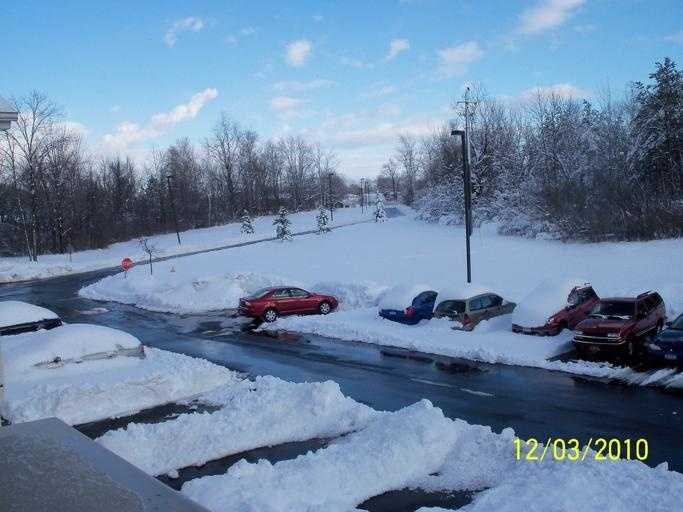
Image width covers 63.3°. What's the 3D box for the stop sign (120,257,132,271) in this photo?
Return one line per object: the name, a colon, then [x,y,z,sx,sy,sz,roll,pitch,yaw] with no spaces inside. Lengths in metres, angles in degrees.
stop sign: [-16.227,0.657,41.610,0.984,0.946,0.139,23,22,-44]
